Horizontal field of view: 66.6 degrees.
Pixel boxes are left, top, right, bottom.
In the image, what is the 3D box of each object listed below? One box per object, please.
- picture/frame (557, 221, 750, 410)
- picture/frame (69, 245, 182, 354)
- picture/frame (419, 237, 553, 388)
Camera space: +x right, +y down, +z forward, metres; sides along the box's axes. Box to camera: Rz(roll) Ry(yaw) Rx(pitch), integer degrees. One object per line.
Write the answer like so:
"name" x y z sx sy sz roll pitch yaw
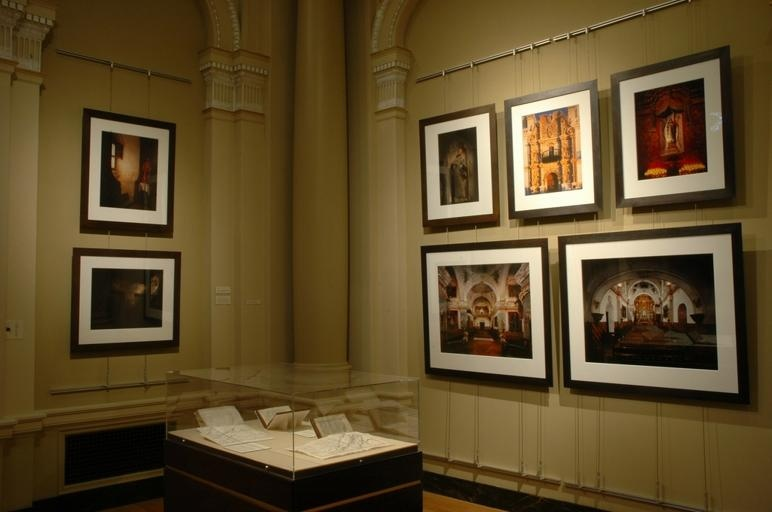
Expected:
"picture/frame" 3.009 0.674 6.479 1.880 2.089 0.074 -4 -7 32
"picture/frame" -3.449 0.582 7.677 1.291 1.434 0.100 2 -5 -35
"picture/frame" 1.327 0.736 7.487 1.704 1.976 0.089 -4 -6 33
